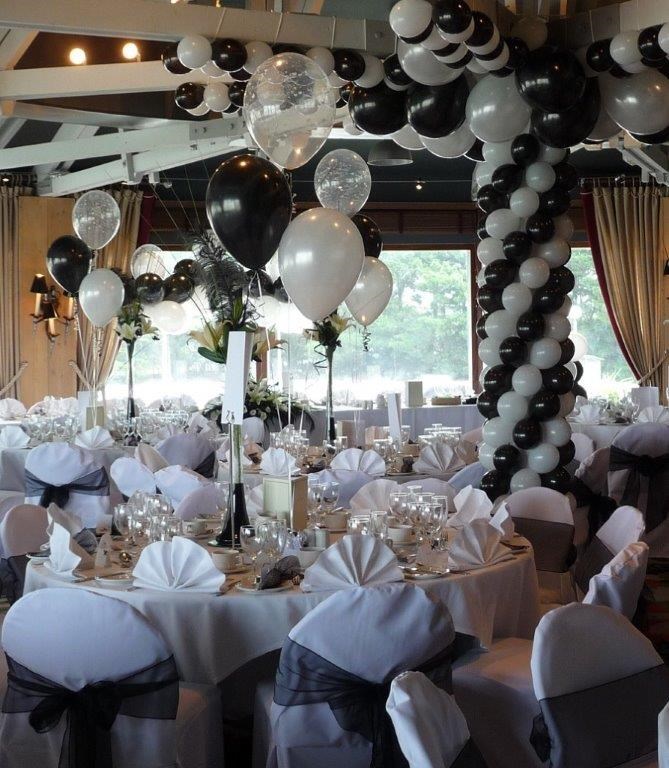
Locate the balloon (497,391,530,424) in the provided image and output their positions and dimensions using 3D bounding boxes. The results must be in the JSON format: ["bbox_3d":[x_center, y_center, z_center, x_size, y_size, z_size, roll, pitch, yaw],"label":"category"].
[{"bbox_3d":[1.056,0.145,3.791,0.168,0.203,0.173,-2,-18,5],"label":"balloon"}]

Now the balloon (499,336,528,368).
[{"bbox_3d":[1.072,-0.187,3.757,0.155,0.196,0.159,1,-5,-5],"label":"balloon"}]

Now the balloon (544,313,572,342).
[{"bbox_3d":[1.334,-0.332,3.826,0.153,0.184,0.162,-1,-48,4],"label":"balloon"}]

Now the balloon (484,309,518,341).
[{"bbox_3d":[0.993,-0.335,3.859,0.172,0.209,0.177,3,-16,-4],"label":"balloon"}]

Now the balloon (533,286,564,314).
[{"bbox_3d":[1.260,-0.490,3.710,0.140,0.178,0.145,2,-2,18],"label":"balloon"}]

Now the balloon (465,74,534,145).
[{"bbox_3d":[0.845,-1.452,3.460,0.316,0.382,0.318,-19,9,-8],"label":"balloon"}]

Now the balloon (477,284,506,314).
[{"bbox_3d":[0.960,-0.506,3.931,0.149,0.181,0.155,-14,-18,4],"label":"balloon"}]

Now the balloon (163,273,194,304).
[{"bbox_3d":[-1.701,-1.037,7.008,0.286,0.360,0.295,3,-2,-4],"label":"balloon"}]

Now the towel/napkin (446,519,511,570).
[{"bbox_3d":[0.448,0.517,2.044,0.195,0.147,0.081,3,-34,-49],"label":"towel/napkin"}]

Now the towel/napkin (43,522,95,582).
[{"bbox_3d":[-0.834,0.523,1.970,0.153,0.192,0.158,-3,16,-29],"label":"towel/napkin"}]

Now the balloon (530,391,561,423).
[{"bbox_3d":[1.244,0.126,3.732,0.160,0.200,0.165,5,-12,-3],"label":"balloon"}]

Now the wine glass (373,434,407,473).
[{"bbox_3d":[0.378,0.466,4.187,0.190,0.309,0.186,0,-14,-4],"label":"wine glass"}]

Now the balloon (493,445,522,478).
[{"bbox_3d":[1.035,0.451,3.773,0.151,0.189,0.155,2,-3,-6],"label":"balloon"}]

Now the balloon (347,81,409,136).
[{"bbox_3d":[0.256,-1.526,3.519,0.241,0.294,0.160,-22,14,3],"label":"balloon"}]

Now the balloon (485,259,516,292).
[{"bbox_3d":[0.985,-0.651,3.838,0.161,0.202,0.169,2,-27,1],"label":"balloon"}]

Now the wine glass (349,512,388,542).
[{"bbox_3d":[0.118,0.480,2.132,0.094,0.093,0.096,1,-9,-2],"label":"wine glass"}]

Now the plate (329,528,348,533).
[{"bbox_3d":[0.016,0.584,2.517,0.069,0.015,0.102,0,-6,1],"label":"plate"}]

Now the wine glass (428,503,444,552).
[{"bbox_3d":[0.327,0.451,1.990,0.060,0.134,0.053,0,-6,-3],"label":"wine glass"}]

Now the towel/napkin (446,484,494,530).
[{"bbox_3d":[0.565,0.525,2.663,0.159,0.176,0.074,-10,-41,43],"label":"towel/napkin"}]

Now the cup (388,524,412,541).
[{"bbox_3d":[0.229,0.529,2.263,0.064,0.045,0.050,-2,0,15],"label":"cup"}]

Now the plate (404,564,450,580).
[{"bbox_3d":[0.280,0.571,1.919,0.144,0.023,0.154,-1,-6,10],"label":"plate"}]

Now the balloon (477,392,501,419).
[{"bbox_3d":[0.949,0.143,3.980,0.143,0.174,0.149,0,-26,2],"label":"balloon"}]

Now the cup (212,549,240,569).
[{"bbox_3d":[-0.344,0.546,1.978,0.069,0.054,0.054,1,-5,-6],"label":"cup"}]

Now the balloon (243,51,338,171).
[{"bbox_3d":[-0.233,-1.123,2.753,0.422,0.526,0.433,-2,4,-28],"label":"balloon"}]

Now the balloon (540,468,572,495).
[{"bbox_3d":[1.261,0.552,3.607,0.126,0.151,0.127,-21,2,-18],"label":"balloon"}]

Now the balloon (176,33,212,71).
[{"bbox_3d":[-0.821,-1.938,3.704,0.218,0.193,0.238,0,-6,-1],"label":"balloon"}]

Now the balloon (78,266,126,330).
[{"bbox_3d":[-2.154,-0.791,5.866,0.371,0.600,0.412,-5,-12,7],"label":"balloon"}]

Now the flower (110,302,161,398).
[{"bbox_3d":[-2.031,-0.355,6.500,0.389,1.073,0.862,2,-6,-16],"label":"flower"}]

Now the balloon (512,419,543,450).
[{"bbox_3d":[1.159,0.299,3.769,0.180,0.185,0.139,-1,-6,10],"label":"balloon"}]

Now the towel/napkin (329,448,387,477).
[{"bbox_3d":[0.153,0.463,3.772,0.207,0.186,0.194,8,-2,-26],"label":"towel/napkin"}]

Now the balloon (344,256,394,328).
[{"bbox_3d":[0.233,-0.589,4.066,0.355,0.494,0.376,6,6,-4],"label":"balloon"}]

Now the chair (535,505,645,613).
[{"bbox_3d":[0.964,0.674,2.421,0.359,0.319,0.456,2,-45,8],"label":"chair"}]

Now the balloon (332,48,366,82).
[{"bbox_3d":[0.087,-1.723,3.476,0.150,0.124,0.193,0,-43,-3],"label":"balloon"}]

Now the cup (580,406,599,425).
[{"bbox_3d":[2.641,0.310,6.491,0.174,0.185,0.167,-1,-3,0],"label":"cup"}]
